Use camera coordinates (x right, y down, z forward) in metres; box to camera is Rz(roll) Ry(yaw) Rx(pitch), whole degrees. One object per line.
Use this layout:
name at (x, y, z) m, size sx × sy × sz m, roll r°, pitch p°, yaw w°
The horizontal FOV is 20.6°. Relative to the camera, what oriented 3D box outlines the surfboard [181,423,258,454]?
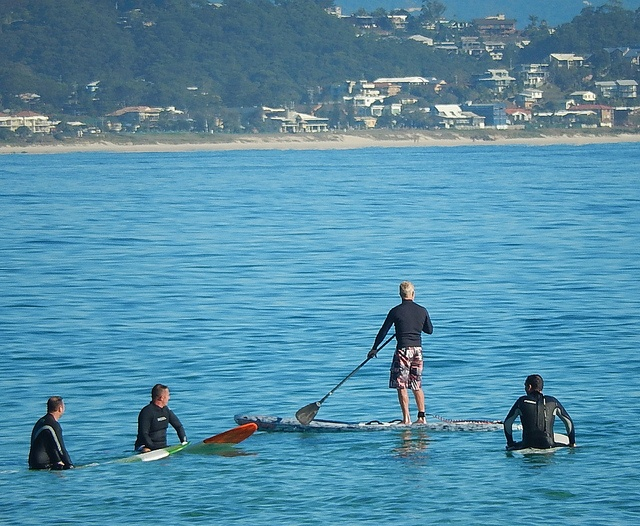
surfboard at (-5.828, 10.593, 106.479) m, size 3.876 × 1.740 × 0.391 m, roll -1°, pitch 5°, yaw -7°
